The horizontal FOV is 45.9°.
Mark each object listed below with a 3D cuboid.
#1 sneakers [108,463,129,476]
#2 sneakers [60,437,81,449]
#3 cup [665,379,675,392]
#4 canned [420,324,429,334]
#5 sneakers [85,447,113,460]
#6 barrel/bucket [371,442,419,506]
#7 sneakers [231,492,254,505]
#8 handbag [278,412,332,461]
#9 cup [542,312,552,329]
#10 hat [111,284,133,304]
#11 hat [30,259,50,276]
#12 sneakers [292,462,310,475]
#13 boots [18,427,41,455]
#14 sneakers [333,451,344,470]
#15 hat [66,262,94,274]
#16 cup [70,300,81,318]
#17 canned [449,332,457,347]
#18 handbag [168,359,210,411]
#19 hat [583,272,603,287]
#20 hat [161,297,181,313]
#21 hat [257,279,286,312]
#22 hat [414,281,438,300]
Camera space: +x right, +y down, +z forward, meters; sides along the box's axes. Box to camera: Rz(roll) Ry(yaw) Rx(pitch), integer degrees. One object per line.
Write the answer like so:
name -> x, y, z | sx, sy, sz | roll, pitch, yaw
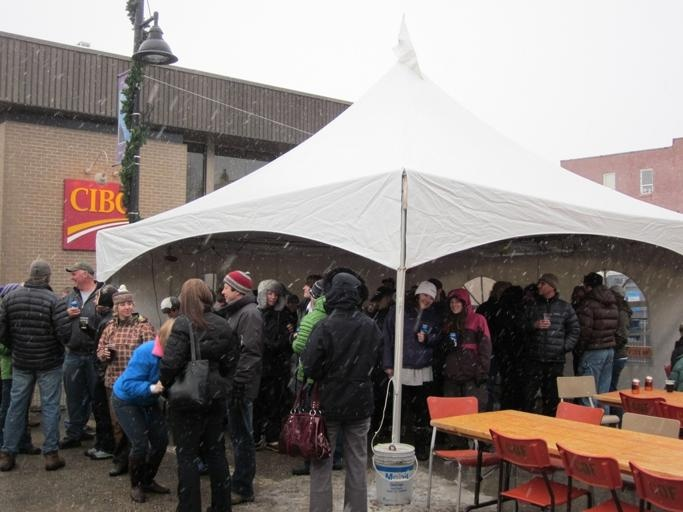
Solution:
sneakers -> -2.519, 2.446, 9.239 | 0.242, 0.114, 0.089 | 12, -9, -39
sneakers -> -3.347, 2.336, 10.063 | 0.240, 0.141, 0.107 | 9, -11, -20
cup -> 3.929, 1.568, 9.736 | 0.114, 0.126, 0.122 | 2, 3, 0
canned -> 0.982, 0.876, 9.645 | 0.076, 0.156, 0.104 | 0, -5, -8
sneakers -> -2.904, 2.386, 9.700 | 0.214, 0.096, 0.153 | 14, -12, -8
barrel/bucket -> 0.572, 2.306, 8.655 | 0.529, 0.646, 0.536 | 1, -4, 0
sneakers -> -1.042, 2.566, 8.534 | 0.245, 0.130, 0.088 | 13, -11, -27
handbag -> -0.369, 1.708, 7.817 | 0.510, 0.563, 0.244 | -3, -11, 35
cup -> 2.545, 0.797, 10.067 | 0.125, 0.204, 0.130 | 2, -1, 0
hat -> -2.527, 0.431, 9.329 | 0.216, 0.249, 0.244 | -4, -11, -4
hat -> -3.458, 0.147, 9.389 | 0.164, 0.146, 0.220 | -4, 8, -8
sneakers -> -0.466, 2.453, 9.285 | 0.204, 0.096, 0.097 | 8, -10, -22
boots -> -3.798, 2.290, 9.884 | 0.346, 0.378, 0.176 | 3, -5, -19
sneakers -> -0.044, 2.382, 9.355 | 0.226, 0.179, 0.079 | -1, -5, 41
hat -> -3.267, 0.127, 10.193 | 0.334, 0.139, 0.227 | 1, -7, 0
cup -> -3.301, 0.671, 10.071 | 0.125, 0.195, 0.175 | 0, 1, 4
canned -> 1.369, 1.033, 9.973 | 0.091, 0.143, 0.043 | -1, -6, 0
handbag -> -1.437, 1.220, 7.720 | 0.482, 0.516, 0.217 | -3, 2, 30
hat -> 3.373, 0.316, 10.939 | 0.214, 0.245, 0.174 | 14, 13, 40
hat -> -2.099, 0.581, 9.831 | 0.189, 0.235, 0.217 | 3, 8, 24
hat -> -0.840, 0.495, 9.989 | 0.270, 0.385, 0.372 | 6, -11, -13
hat -> 1.017, 0.416, 9.659 | 0.231, 0.203, 0.171 | 5, -7, 45
